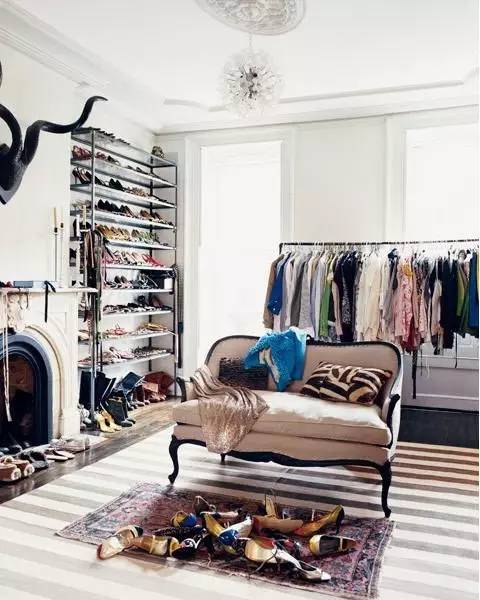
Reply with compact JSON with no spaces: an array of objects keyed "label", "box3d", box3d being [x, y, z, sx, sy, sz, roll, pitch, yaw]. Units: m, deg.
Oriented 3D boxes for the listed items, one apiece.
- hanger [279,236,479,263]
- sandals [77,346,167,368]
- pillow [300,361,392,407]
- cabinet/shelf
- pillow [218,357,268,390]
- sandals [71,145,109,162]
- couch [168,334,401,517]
[{"label":"hanger","box3d":[1.289,-0.528,4.985,1.799,0.132,0.544,0,0,29]},{"label":"sandals","box3d":[-1.051,0.559,5.005,0.294,0.148,0.686,0,-1,33]},{"label":"pillow","box3d":[0.638,0.477,3.022,0.427,0.208,0.292,3,0,35]},{"label":"cabinet/shelf","box3d":[-1.099,-0.200,4.789,0.445,2.941,1.658,1,1,22]},{"label":"pillow","box3d":[0.023,0.490,3.399,0.288,0.196,0.062,3,-44,13]},{"label":"sandals","box3d":[-1.345,-1.268,4.404,0.398,0.149,0.131,-5,12,-15]},{"label":"couch","box3d":[0.433,0.785,3.459,1.630,0.918,1.205,0,0,19]}]
